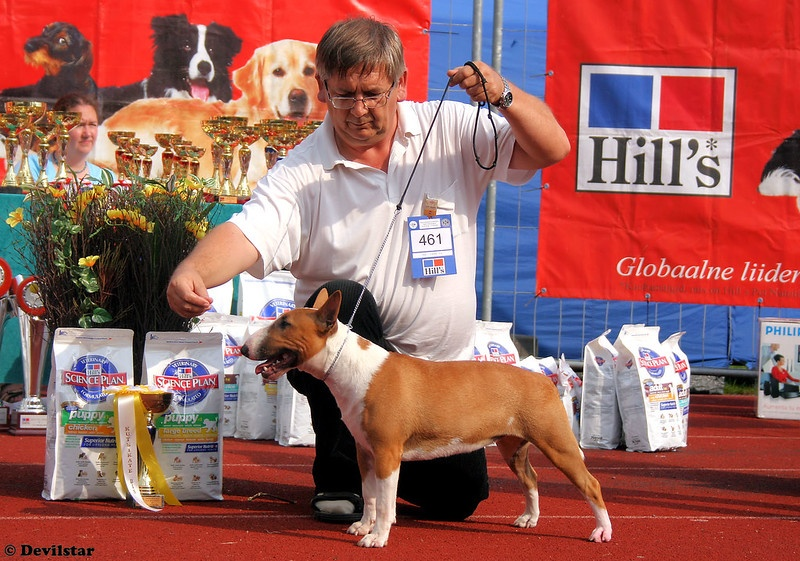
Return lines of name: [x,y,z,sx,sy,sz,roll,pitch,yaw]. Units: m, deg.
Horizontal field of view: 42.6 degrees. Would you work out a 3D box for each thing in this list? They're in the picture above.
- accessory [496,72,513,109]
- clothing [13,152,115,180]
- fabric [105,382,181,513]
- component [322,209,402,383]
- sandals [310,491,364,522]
accessory: [0.561,-0.989,5.351,0.090,0.177,0.108,4,5,13]
clothing: [-2.815,-0.960,8.472,0.530,0.204,0.498,7,-1,-27]
fabric: [-1.493,0.968,5.755,0.492,0.684,0.465,-2,3,-13]
component: [-0.206,0.064,5.463,0.056,0.996,0.141,25,-16,-14]
sandals: [-0.318,1.225,5.510,0.248,0.080,0.144,1,1,27]
